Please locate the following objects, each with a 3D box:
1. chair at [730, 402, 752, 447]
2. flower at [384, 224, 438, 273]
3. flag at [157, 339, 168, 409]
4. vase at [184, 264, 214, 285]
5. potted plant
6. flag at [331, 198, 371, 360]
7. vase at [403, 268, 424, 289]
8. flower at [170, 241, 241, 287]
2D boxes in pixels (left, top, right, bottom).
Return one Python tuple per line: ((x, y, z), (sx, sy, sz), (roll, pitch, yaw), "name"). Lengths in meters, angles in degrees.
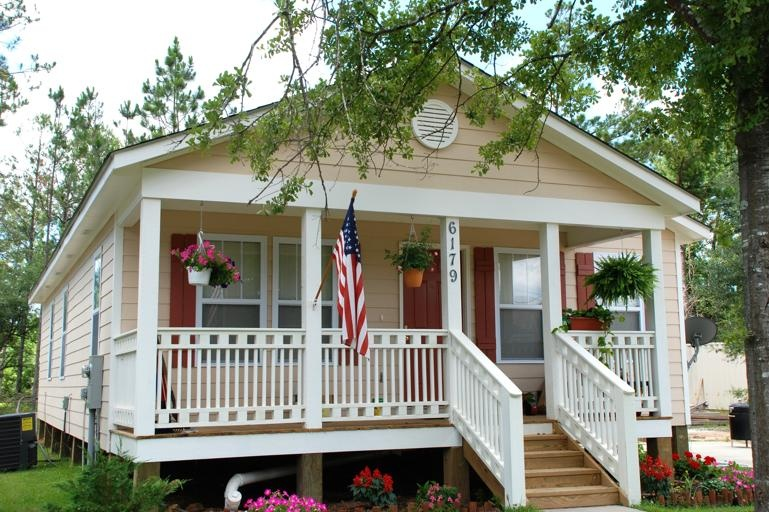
((10.084, 4.784, 20.320), (0.740, 1.136, 0.695), (-6, -11, 30), "chair")
((0.611, 0.039, 13.653), (0.999, 1.131, 0.793), (5, -5, -25), "flower")
((-3.581, 2.060, 11.611), (0.122, 0.819, 0.635), (2, -10, -17), "flag")
((-3.104, 0.333, 11.970), (0.297, 0.252, 0.312), (5, -11, -22), "vase")
((3.803, 1.488, 13.453), (1.113, 1.145, 0.882), (0, -10, -4), "potted plant")
((-0.553, 0.293, 11.572), (0.502, 2.607, 0.349), (0, -9, -3), "flag")
((0.532, 0.407, 13.429), (0.337, 0.299, 0.363), (2, -12, -6), "vase")
((-3.143, 0.093, 11.999), (0.697, 0.518, 0.611), (8, 2, -20), "flower")
